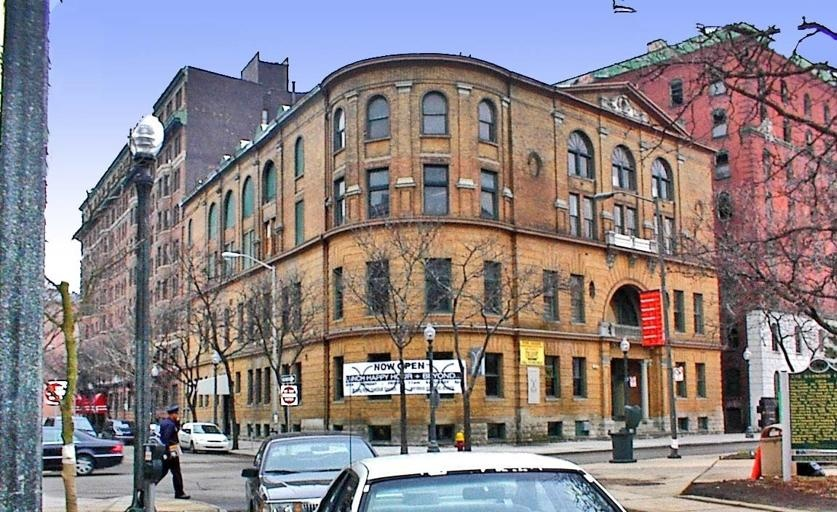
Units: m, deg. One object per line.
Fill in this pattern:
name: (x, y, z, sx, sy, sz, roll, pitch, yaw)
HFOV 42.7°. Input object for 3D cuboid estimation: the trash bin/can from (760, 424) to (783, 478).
trash bin/can: (12.988, 7.215, 39.522, 0.828, 1.915, 0.915, -6, -15, 17)

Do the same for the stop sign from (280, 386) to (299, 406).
stop sign: (-7.150, 7.515, 58.742, 0.726, 1.218, 1.735, -2, -15, 2)
